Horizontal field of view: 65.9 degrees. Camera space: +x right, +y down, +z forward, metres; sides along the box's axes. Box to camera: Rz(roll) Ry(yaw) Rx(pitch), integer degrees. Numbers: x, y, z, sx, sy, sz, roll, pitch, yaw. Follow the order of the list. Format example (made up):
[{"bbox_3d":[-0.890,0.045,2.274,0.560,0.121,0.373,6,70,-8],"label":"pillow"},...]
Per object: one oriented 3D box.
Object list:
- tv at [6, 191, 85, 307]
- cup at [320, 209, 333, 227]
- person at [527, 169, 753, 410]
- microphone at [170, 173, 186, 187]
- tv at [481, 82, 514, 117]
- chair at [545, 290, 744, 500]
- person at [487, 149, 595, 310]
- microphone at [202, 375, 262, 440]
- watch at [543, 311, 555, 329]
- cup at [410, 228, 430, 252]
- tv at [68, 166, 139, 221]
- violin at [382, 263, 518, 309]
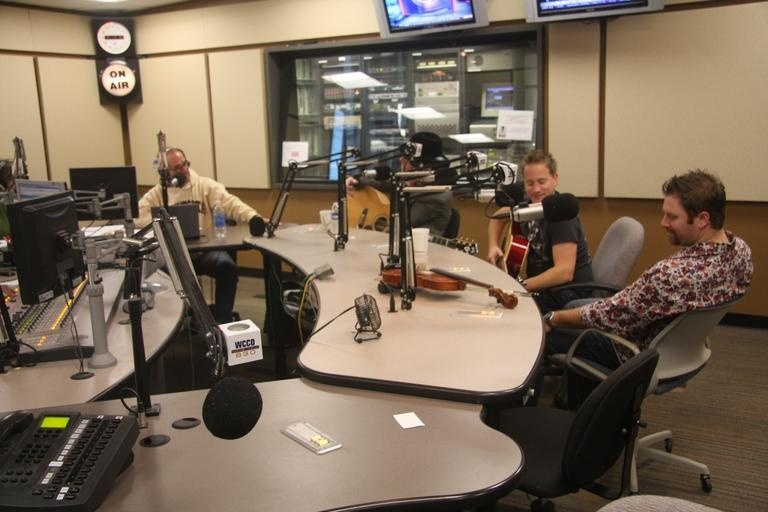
[{"bbox_3d":[-1.560,-0.050,2.830,0.191,0.470,0.415,-1,14,7],"label":"tv"},{"bbox_3d":[-0.483,-0.315,4.845,0.126,0.159,0.163,0,3,6],"label":"cup"},{"bbox_3d":[1.570,0.441,3.527,0.980,1.687,1.178,-6,5,-34],"label":"person"},{"bbox_3d":[-1.810,-0.661,5.287,0.153,0.093,0.148,-9,30,-12],"label":"microphone"},{"bbox_3d":[1.143,-1.527,5.913,0.340,0.319,0.192,1,-9,10],"label":"tv"},{"bbox_3d":[1.462,0.655,3.391,0.791,1.192,0.862,-2,8,-41],"label":"chair"},{"bbox_3d":[0.938,-0.166,4.070,0.708,1.064,0.685,10,22,36],"label":"person"},{"bbox_3d":[-0.555,0.591,2.193,0.213,0.300,0.181,-5,14,-8],"label":"microphone"},{"bbox_3d":[0.947,0.370,3.392,0.039,0.102,0.072,12,-1,14],"label":"watch"},{"bbox_3d":[0.230,-0.104,3.859,0.134,0.153,0.138,-1,7,0],"label":"cup"},{"bbox_3d":[-2.301,-0.513,4.883,0.518,0.400,0.047,5,8,-8],"label":"tv"},{"bbox_3d":[0.377,0.078,3.297,0.287,0.141,0.706,-16,21,-40],"label":"violin"}]
